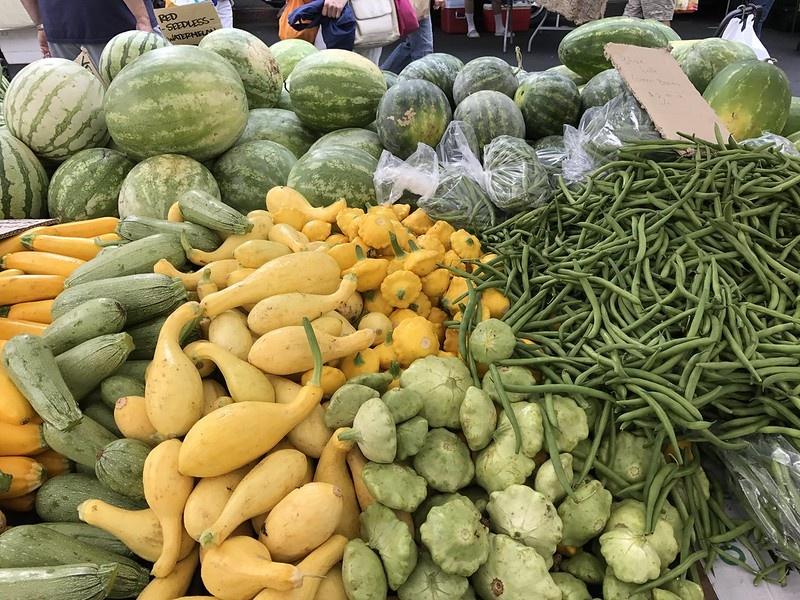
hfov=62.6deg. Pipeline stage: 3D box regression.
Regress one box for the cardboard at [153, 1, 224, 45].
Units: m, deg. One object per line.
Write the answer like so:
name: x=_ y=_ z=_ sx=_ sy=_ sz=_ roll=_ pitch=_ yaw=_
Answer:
cardboard: x=-1.581 y=-2.033 z=4.897 sx=0.440 sy=0.358 sz=0.325 roll=-15 pitch=41 yaw=-14
